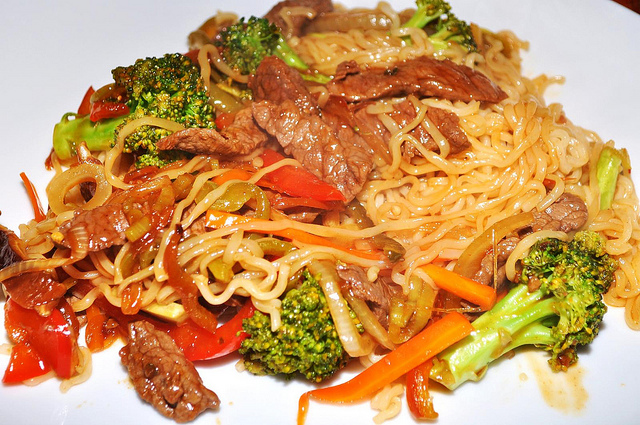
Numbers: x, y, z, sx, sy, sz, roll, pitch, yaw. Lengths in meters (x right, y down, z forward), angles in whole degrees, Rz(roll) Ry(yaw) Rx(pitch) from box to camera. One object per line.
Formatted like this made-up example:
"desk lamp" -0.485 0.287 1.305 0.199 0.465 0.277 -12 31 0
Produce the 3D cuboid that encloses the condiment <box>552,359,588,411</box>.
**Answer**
"condiment" 2.173 1.467 4.999 0.261 0.267 0.443 -1 10 18

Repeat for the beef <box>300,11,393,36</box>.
"beef" 0.297 -1.960 6.142 0.906 0.236 0.261 1 21 8

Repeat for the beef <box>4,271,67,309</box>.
"beef" -2.387 0.640 4.919 0.361 0.358 0.083 -43 -3 -12

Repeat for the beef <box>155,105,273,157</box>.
"beef" -0.984 -0.743 5.349 0.602 0.406 0.942 5 14 31

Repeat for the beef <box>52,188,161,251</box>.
"beef" -1.718 0.077 4.824 0.810 0.413 0.098 -18 -13 -10

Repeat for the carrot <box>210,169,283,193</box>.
"carrot" -0.645 -0.273 5.193 0.622 0.188 0.146 -1 17 -4

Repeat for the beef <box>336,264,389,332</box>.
"beef" 0.379 0.663 4.948 0.151 0.563 0.409 -40 15 8

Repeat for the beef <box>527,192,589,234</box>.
"beef" 2.081 0.025 5.203 0.587 0.290 0.232 -9 20 -27
